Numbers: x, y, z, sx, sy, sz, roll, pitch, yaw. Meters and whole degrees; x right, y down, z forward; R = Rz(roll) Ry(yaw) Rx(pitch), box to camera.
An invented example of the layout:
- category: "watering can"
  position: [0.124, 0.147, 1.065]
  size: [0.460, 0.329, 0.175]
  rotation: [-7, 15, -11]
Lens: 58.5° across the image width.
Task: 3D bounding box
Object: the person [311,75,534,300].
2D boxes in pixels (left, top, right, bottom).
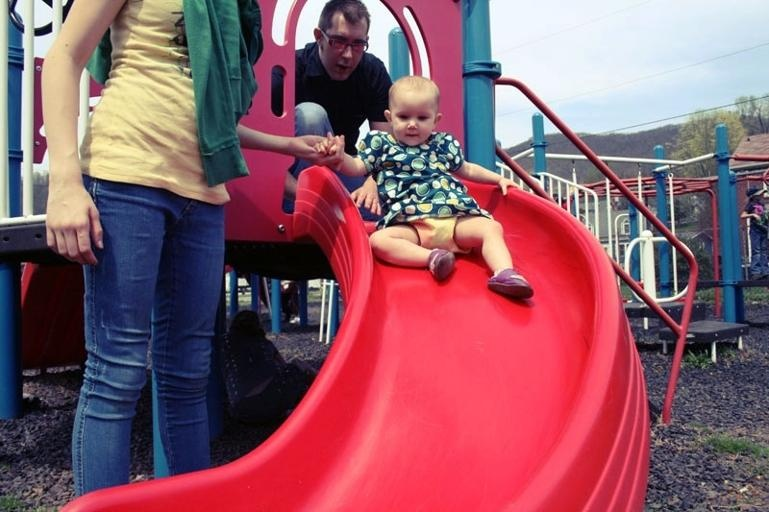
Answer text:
- category: "person"
  position: [0.216, -0.332, 3.755]
  size: [1.039, 0.840, 1.178]
  rotation: [-16, 30, -18]

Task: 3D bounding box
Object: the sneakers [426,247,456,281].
- category: "sneakers"
  position: [0.281, 0.053, 3.463]
  size: [0.098, 0.177, 0.077]
  rotation: [-24, 38, -25]
